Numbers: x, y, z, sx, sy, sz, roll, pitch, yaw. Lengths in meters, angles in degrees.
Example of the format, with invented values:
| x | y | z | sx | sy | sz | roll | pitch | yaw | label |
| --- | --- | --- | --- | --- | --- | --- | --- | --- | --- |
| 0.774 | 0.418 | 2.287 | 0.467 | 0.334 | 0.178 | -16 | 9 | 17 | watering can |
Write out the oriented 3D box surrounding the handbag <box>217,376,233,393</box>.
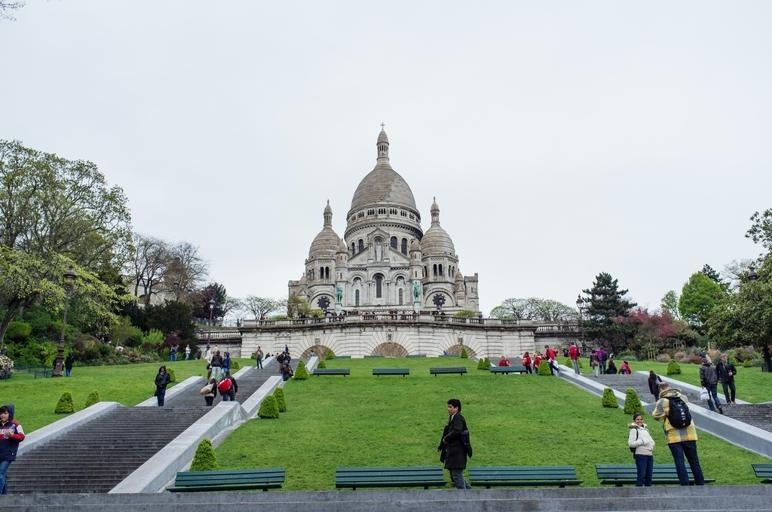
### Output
| x | y | z | sx | sy | sz | roll | pitch | yaw | label |
| --- | --- | --- | --- | --- | --- | --- | --- | --- | --- |
| -6.601 | 5.292 | 24.833 | 0.592 | 0.663 | 0.542 | 4 | -12 | -24 | handbag |

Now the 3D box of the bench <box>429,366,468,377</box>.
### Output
| x | y | z | sx | sy | sz | roll | pitch | yaw | label |
| --- | --- | --- | --- | --- | --- | --- | --- | --- | --- |
| 3.462 | 6.463 | 33.950 | 1.859 | 0.449 | 2.760 | -2 | -10 | 2 | bench |

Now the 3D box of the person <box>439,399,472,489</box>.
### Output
| x | y | z | sx | sy | sz | roll | pitch | yaw | label |
| --- | --- | --- | --- | --- | --- | --- | --- | --- | --- |
| 1.866 | 5.074 | 16.397 | 0.821 | 2.347 | 0.598 | -2 | -11 | 3 | person |

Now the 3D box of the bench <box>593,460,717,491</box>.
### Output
| x | y | z | sx | sy | sz | roll | pitch | yaw | label |
| --- | --- | --- | --- | --- | --- | --- | --- | --- | --- |
| 7.305 | 6.261 | 17.375 | 2.665 | 0.634 | 0.845 | -1 | -11 | 0 | bench |

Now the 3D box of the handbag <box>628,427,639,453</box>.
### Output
| x | y | z | sx | sy | sz | roll | pitch | yaw | label |
| --- | --- | --- | --- | --- | --- | --- | --- | --- | --- |
| 6.804 | 5.018 | 16.591 | 0.268 | 0.749 | 0.250 | -5 | -11 | 18 | handbag |

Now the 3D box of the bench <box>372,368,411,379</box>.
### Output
| x | y | z | sx | sy | sz | roll | pitch | yaw | label |
| --- | --- | --- | --- | --- | --- | --- | --- | --- | --- |
| 0.232 | 6.472 | 33.656 | 1.831 | 0.411 | 2.307 | -1 | -10 | -3 | bench |

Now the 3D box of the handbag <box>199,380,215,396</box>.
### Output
| x | y | z | sx | sy | sz | roll | pitch | yaw | label |
| --- | --- | --- | --- | --- | --- | --- | --- | --- | --- |
| -7.090 | 5.285 | 24.217 | 0.491 | 0.586 | 0.215 | -4 | -22 | 44 | handbag |

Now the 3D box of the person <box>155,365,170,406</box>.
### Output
| x | y | z | sx | sy | sz | roll | pitch | yaw | label |
| --- | --- | --- | --- | --- | --- | --- | --- | --- | --- |
| -9.442 | 5.479 | 25.580 | 0.477 | 1.620 | 1.431 | 3 | -11 | -20 | person |
